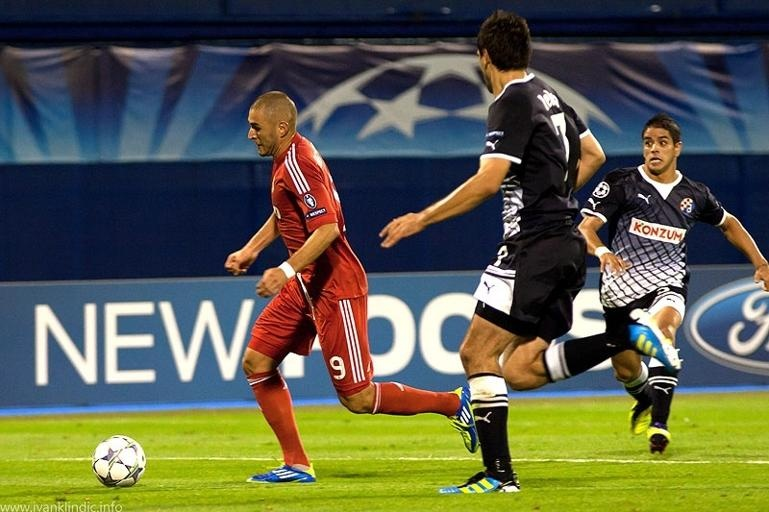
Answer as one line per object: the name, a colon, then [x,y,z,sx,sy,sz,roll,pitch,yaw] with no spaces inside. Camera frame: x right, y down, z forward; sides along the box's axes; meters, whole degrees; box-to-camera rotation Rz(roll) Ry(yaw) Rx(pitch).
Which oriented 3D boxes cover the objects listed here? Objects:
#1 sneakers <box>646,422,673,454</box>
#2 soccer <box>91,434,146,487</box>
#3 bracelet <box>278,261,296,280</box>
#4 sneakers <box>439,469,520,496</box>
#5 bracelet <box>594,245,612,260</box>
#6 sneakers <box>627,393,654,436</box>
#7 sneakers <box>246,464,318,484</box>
sneakers: [2.258,1.501,9.011,0.192,0.222,0.115,-5,3,5]
soccer: [-2.007,1.567,8.459,0.426,0.388,0.393,-12,-42,-6]
bracelet: [-0.730,0.112,8.157,0.047,0.122,0.126,-23,15,48]
sneakers: [0.692,1.663,8.018,0.586,0.167,0.198,1,-12,3]
bracelet: [1.743,-0.027,8.724,0.108,0.095,0.098,-16,1,18]
sneakers: [2.185,1.365,9.384,0.142,0.309,0.131,14,14,3]
sneakers: [-0.787,1.670,8.441,0.511,0.156,0.169,3,-10,-3]
